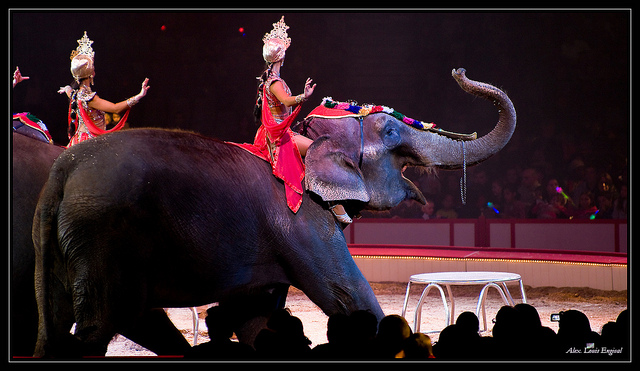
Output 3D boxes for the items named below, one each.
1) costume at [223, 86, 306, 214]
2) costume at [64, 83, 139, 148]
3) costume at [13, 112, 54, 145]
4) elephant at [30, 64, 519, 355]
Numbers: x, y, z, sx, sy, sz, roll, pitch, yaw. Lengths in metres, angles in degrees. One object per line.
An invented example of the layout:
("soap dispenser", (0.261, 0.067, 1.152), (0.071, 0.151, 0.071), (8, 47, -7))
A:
("costume", (-0.379, -0.207, 4.430), (0.483, 0.850, 0.362), (2, 0, -28))
("costume", (-1.612, -0.505, 5.041), (0.602, 0.647, 0.331), (4, 3, 29))
("costume", (-2.162, -0.467, 4.842), (0.325, 0.084, 0.291), (38, 7, -16))
("elephant", (-0.269, 0.483, 4.959), (3.702, 1.908, 1.042), (-5, 3, -30))
